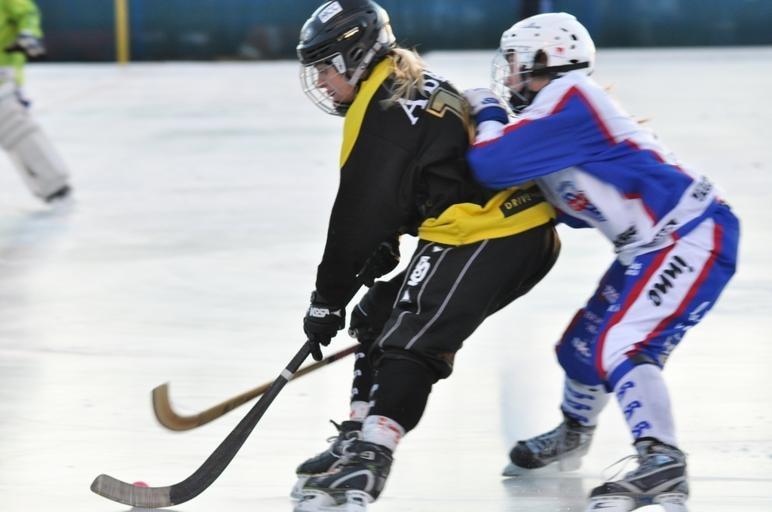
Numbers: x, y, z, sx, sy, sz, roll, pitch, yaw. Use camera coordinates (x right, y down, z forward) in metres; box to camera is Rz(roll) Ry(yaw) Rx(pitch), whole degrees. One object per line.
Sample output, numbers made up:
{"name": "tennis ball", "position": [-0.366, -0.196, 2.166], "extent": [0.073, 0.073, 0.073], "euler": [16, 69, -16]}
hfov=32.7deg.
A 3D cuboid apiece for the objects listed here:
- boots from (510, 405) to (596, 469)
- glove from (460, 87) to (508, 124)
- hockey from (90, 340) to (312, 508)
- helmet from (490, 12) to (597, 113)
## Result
{"name": "boots", "position": [0.873, 0.868, 6.313], "extent": [0.218, 0.269, 0.545], "euler": [-2, -5, -41]}
{"name": "glove", "position": [0.470, -0.681, 6.169], "extent": [0.197, 0.154, 0.210], "euler": [-12, 14, -23]}
{"name": "hockey", "position": [-0.445, 0.798, 6.295], "extent": [1.997, 0.078, 0.278], "euler": [-20, 51, -38]}
{"name": "helmet", "position": [0.674, -0.958, 6.257], "extent": [0.577, 0.354, 0.367], "euler": [-8, 24, -26]}
